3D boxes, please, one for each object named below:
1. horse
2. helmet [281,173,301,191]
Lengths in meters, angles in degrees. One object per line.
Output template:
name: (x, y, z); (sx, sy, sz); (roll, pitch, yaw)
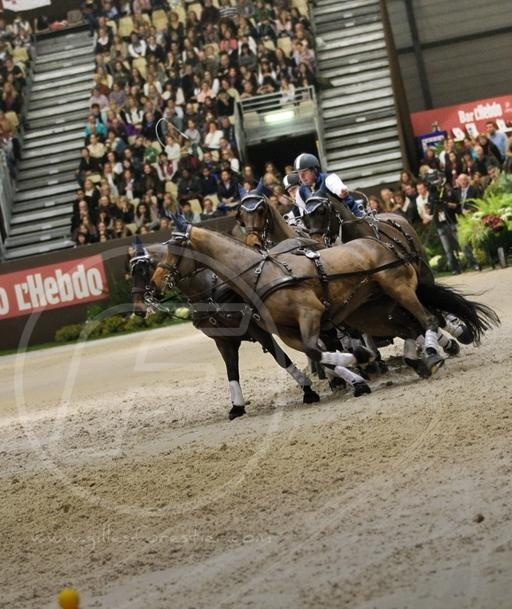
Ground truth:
horse: (0.491, -0.094, 6.756); (3.019, 1.949, 1.579); (-11, 2, -13)
helmet: (0.380, -1.393, 8.067); (0.160, 0.146, 0.193); (-19, 6, 15)
